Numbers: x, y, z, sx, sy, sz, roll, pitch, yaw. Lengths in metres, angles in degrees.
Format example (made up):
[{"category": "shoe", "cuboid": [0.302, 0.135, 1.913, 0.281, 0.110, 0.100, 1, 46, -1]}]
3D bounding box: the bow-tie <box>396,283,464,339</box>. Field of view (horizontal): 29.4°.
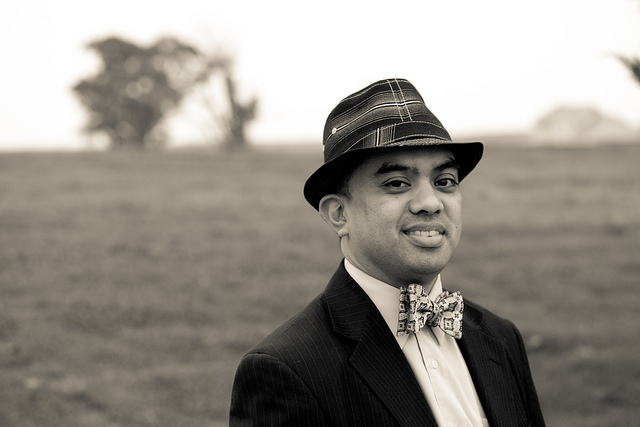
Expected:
[{"category": "bow-tie", "cuboid": [0.727, 0.633, 7.890, 0.456, 0.329, 0.118, 11, -15, -31]}]
